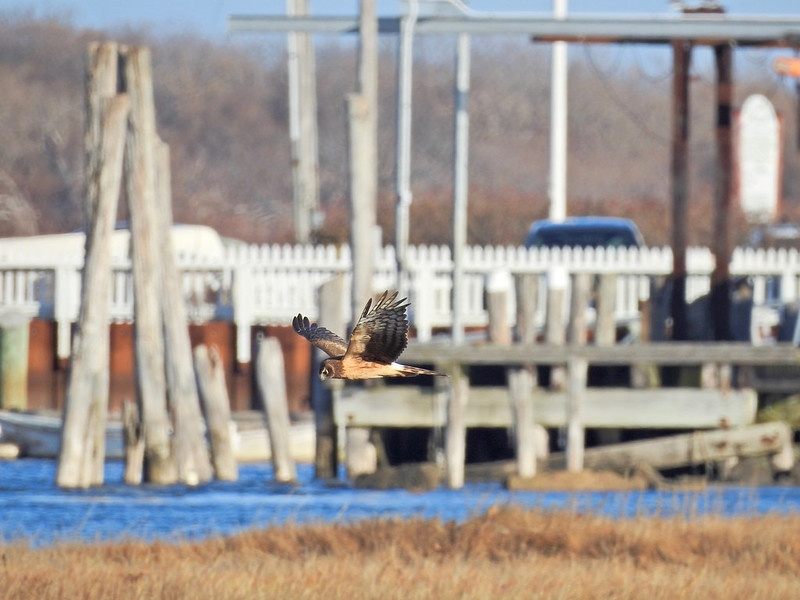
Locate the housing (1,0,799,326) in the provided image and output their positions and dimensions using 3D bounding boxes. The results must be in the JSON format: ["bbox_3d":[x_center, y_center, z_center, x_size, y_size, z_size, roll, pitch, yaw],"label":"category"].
[{"bbox_3d":[-1.803,-4.837,80.833,18.411,6.724,5.799,-1,-1,7],"label":"housing"}]
